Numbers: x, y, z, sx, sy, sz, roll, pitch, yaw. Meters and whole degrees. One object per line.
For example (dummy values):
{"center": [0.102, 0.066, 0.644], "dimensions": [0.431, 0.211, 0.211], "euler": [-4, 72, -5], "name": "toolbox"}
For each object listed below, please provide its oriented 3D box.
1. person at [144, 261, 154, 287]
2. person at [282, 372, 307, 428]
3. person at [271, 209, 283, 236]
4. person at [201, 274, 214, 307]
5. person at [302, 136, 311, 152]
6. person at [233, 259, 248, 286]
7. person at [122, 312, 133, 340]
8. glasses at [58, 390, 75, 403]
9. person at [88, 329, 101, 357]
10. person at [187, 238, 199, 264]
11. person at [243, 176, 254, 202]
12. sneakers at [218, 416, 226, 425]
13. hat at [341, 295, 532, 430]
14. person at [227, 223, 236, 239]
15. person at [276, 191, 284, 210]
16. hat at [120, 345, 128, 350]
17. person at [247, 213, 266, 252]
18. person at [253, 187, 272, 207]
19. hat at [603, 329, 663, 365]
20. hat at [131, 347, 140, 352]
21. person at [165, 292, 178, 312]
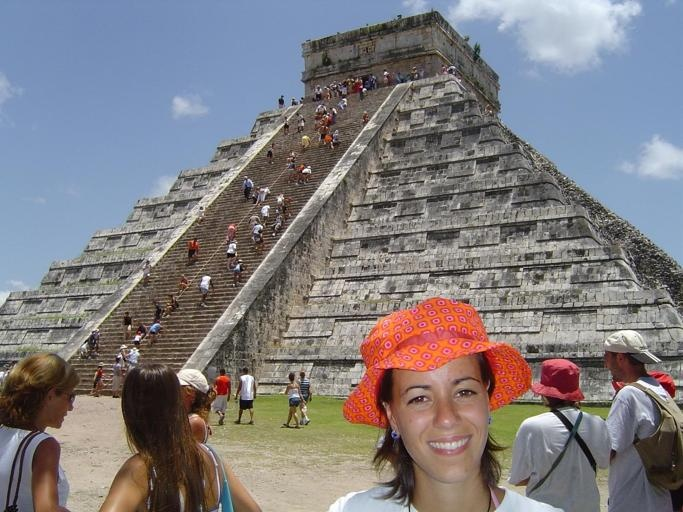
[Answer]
{"center": [-7.197, 0.628, 20.358], "dimensions": [0.258, 0.858, 0.676], "euler": [4, -7, -18], "name": "person"}
{"center": [-1.032, 3.094, 12.035], "dimensions": [0.386, 1.061, 1.493], "euler": [2, -6, -5], "name": "person"}
{"center": [-2.341, -1.213, 20.130], "dimensions": [0.343, 0.962, 0.298], "euler": [-17, -51, 23], "name": "person"}
{"center": [-4.465, 1.145, 18.181], "dimensions": [0.389, 1.035, 0.897], "euler": [3, -6, -14], "name": "person"}
{"center": [-1.583, -5.143, 25.542], "dimensions": [0.387, 0.801, 0.780], "euler": [2, -6, -2], "name": "person"}
{"center": [-3.416, 0.565, 18.383], "dimensions": [0.407, 0.930, 0.783], "euler": [1, -6, 0], "name": "person"}
{"center": [-7.033, 2.310, 18.003], "dimensions": [0.267, 0.812, 0.648], "euler": [4, -7, -22], "name": "person"}
{"center": [-1.674, 0.851, 3.352], "dimensions": [0.079, 0.083, 0.027], "euler": [-5, -2, 20], "name": "glasses"}
{"center": [-8.054, 2.848, 17.819], "dimensions": [0.353, 0.757, 0.561], "euler": [5, -7, -30], "name": "person"}
{"center": [-5.580, -0.217, 20.677], "dimensions": [0.404, 0.981, 0.925], "euler": [3, -7, -17], "name": "person"}
{"center": [-3.948, -2.818, 23.504], "dimensions": [0.377, 1.107, 1.223], "euler": [2, -6, -9], "name": "person"}
{"center": [-2.532, 3.463, 11.641], "dimensions": [0.103, 0.274, 0.183], "euler": [11, -51, -10], "name": "sneakers"}
{"center": [0.489, 0.473, 2.502], "dimensions": [0.726, 0.406, 0.741], "euler": [-18, 3, -30], "name": "hat"}
{"center": [-4.113, -0.905, 20.671], "dimensions": [0.269, 0.698, 0.997], "euler": [3, -6, -10], "name": "person"}
{"center": [-2.371, -2.134, 21.546], "dimensions": [0.333, 0.869, 1.319], "euler": [2, -6, -8], "name": "person"}
{"center": [-6.652, 2.791, 16.723], "dimensions": [0.192, 0.097, 0.271], "euler": [-1, -10, -4], "name": "hat"}
{"center": [-3.058, -0.907, 19.719], "dimensions": [0.455, 0.414, 1.225], "euler": [4, -49, -14], "name": "person"}
{"center": [-3.241, -2.454, 22.574], "dimensions": [0.690, 0.951, 0.884], "euler": [3, -6, -12], "name": "person"}
{"center": [2.274, 0.689, 4.270], "dimensions": [0.404, 0.215, 0.251], "euler": [7, 0, 18], "name": "hat"}
{"center": [-6.160, 2.785, 16.376], "dimensions": [0.236, 0.099, 0.252], "euler": [1, -1, -36], "name": "hat"}
{"center": [-5.693, 1.574, 18.473], "dimensions": [0.405, 0.711, 0.915], "euler": [3, -7, -18], "name": "person"}
